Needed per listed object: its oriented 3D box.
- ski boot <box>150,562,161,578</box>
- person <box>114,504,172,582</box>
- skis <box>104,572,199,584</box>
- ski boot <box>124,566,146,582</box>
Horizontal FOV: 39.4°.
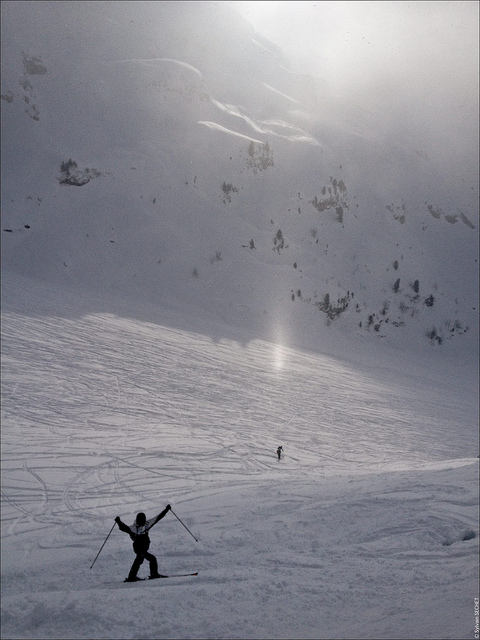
[{"bbox_3d":[-1.465,4.285,11.496,0.190,0.236,0.187,3,6,-8],"label":"ski boot"},{"bbox_3d":[-1.710,3.814,11.646,0.827,1.340,1.325,3,6,-5],"label":"person"},{"bbox_3d":[-1.386,4.436,11.508,1.311,0.118,0.165,2,6,-12],"label":"skis"},{"bbox_3d":[-1.806,4.351,11.462,0.358,0.254,0.252,3,6,-10],"label":"ski boot"}]
